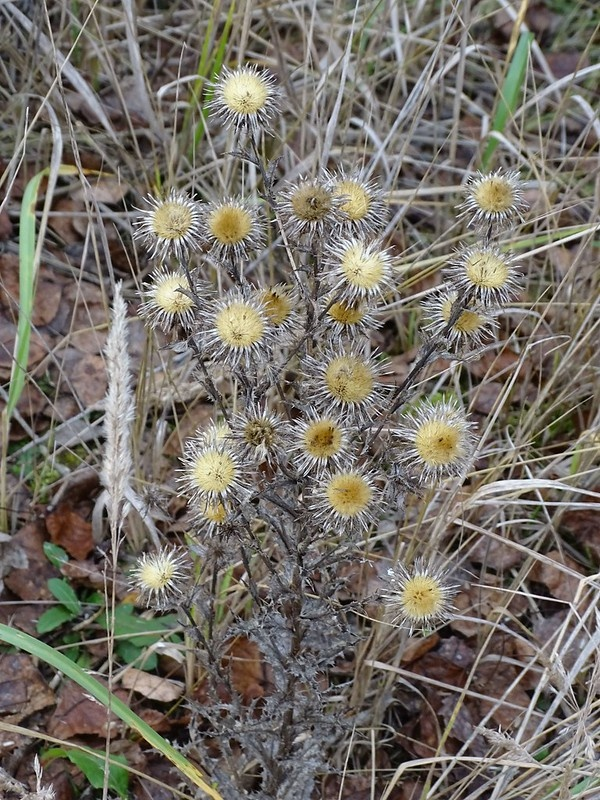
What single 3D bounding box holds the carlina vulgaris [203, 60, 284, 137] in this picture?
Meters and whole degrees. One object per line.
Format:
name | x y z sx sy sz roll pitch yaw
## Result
carlina vulgaris | -0.138 -0.778 2.015 0.175 0.211 0.263 -5 82 1
